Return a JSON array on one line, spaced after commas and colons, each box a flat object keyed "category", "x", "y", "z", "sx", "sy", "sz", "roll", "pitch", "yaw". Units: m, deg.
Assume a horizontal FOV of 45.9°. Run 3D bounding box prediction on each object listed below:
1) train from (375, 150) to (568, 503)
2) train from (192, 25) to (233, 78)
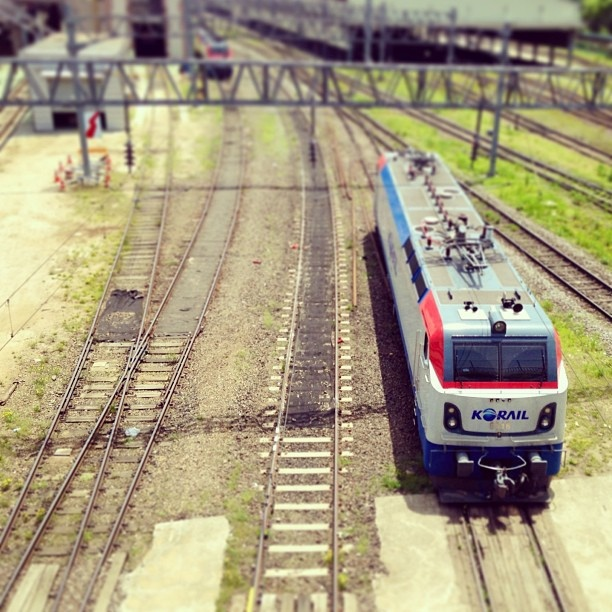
[{"category": "train", "x": 3.616, "y": -0.627, "z": 17.773, "sx": 2.403, "sy": 3.645, "sz": 10.677, "roll": 0, "pitch": 37, "yaw": 0}, {"category": "train", "x": -6.216, "y": -16.432, "z": 47.429, "sx": 2.310, "sy": 3.167, "sz": 6.818, "roll": -5, "pitch": 22, "yaw": -7}]
